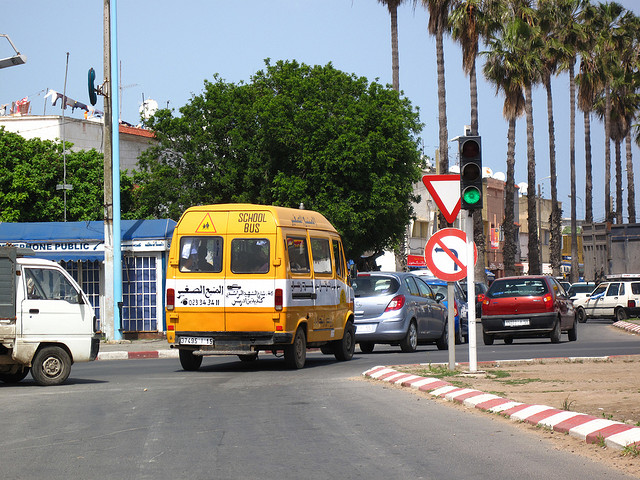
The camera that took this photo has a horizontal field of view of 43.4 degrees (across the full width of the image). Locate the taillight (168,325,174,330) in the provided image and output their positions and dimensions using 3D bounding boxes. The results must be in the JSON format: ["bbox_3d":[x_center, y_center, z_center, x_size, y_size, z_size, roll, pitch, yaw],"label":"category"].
[{"bbox_3d":[-3.181,1.911,17.371,0.124,0.078,0.089,1,-1,-8],"label":"taillight"}]

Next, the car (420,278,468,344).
[{"bbox_3d":[4.510,2.535,28.892,1.628,1.764,3.187,0,2,13],"label":"car"}]

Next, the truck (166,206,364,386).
[{"bbox_3d":[-1.270,1.081,18.050,4.196,3.719,2.281,-1,-5,-21],"label":"truck"}]

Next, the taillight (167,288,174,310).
[{"bbox_3d":[-3.207,1.293,17.477,0.171,0.465,0.067,-6,-5,38],"label":"taillight"}]

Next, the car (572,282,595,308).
[{"bbox_3d":[14.217,3.028,43.383,1.363,1.462,2.689,-1,-7,5],"label":"car"}]

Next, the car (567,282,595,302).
[{"bbox_3d":[13.724,2.789,42.177,1.188,1.208,2.186,-2,-7,12],"label":"car"}]

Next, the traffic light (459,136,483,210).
[{"bbox_3d":[2.830,-1.255,15.101,0.403,1.394,0.352,-3,-4,10],"label":"traffic light"}]

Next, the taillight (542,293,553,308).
[{"bbox_3d":[6.774,1.830,23.983,0.305,0.327,0.594,0,6,19],"label":"taillight"}]

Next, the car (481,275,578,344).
[{"bbox_3d":[6.605,2.156,24.758,3.087,2.078,1.702,0,-5,-27],"label":"car"}]

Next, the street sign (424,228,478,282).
[{"bbox_3d":[2.444,0.278,15.826,0.686,1.299,0.615,-2,-1,-5],"label":"street sign"}]
